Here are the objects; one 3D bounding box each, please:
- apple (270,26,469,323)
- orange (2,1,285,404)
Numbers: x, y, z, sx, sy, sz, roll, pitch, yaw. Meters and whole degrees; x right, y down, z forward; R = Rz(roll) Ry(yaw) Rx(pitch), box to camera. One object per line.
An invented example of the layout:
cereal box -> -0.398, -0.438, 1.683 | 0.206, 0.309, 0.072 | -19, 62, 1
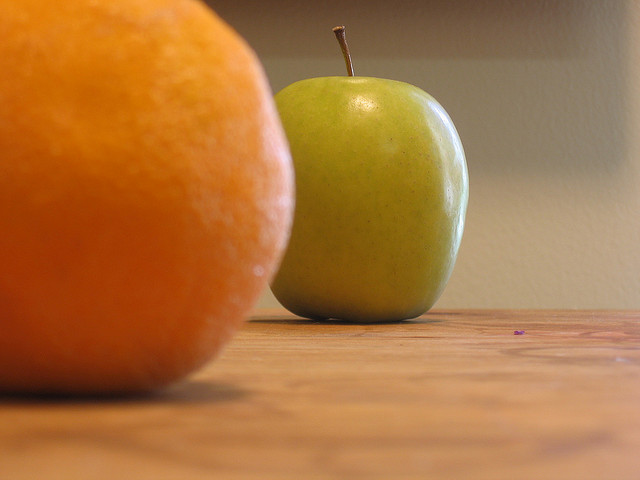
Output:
apple -> 0.063, -0.108, 1.129 | 0.379, 0.480, 0.379 | 4, 6, -7
orange -> -0.153, -0.021, 0.547 | 0.229, 0.283, 0.228 | -2, -6, 37
